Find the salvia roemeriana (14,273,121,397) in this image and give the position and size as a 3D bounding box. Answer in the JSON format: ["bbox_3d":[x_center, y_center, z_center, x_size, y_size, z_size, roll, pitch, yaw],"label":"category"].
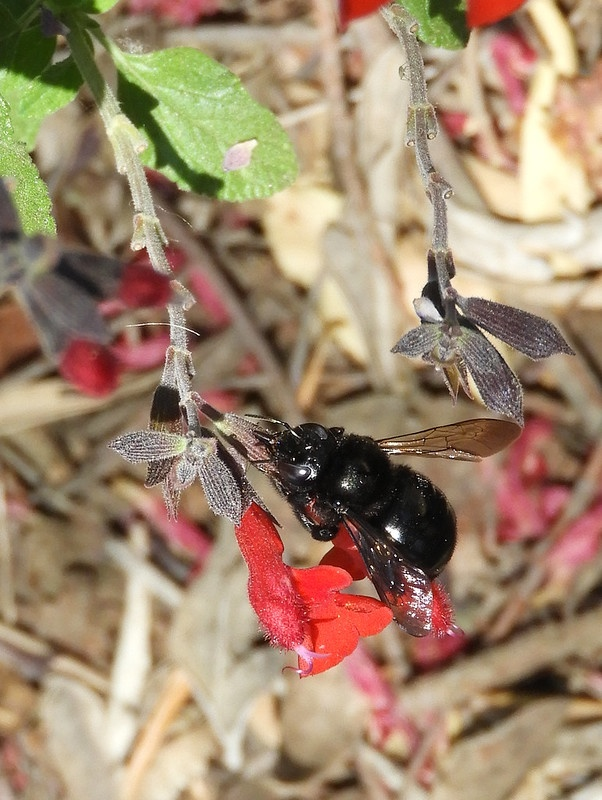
[{"bbox_3d":[-0.135,-0.036,0.528,0.048,0.086,0.035,-23,41,0],"label":"salvia roemeriana"}]

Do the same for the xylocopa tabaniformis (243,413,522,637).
[{"bbox_3d":[0.078,0.103,0.805,0.278,0.074,0.172,26,66,-23],"label":"xylocopa tabaniformis"}]
